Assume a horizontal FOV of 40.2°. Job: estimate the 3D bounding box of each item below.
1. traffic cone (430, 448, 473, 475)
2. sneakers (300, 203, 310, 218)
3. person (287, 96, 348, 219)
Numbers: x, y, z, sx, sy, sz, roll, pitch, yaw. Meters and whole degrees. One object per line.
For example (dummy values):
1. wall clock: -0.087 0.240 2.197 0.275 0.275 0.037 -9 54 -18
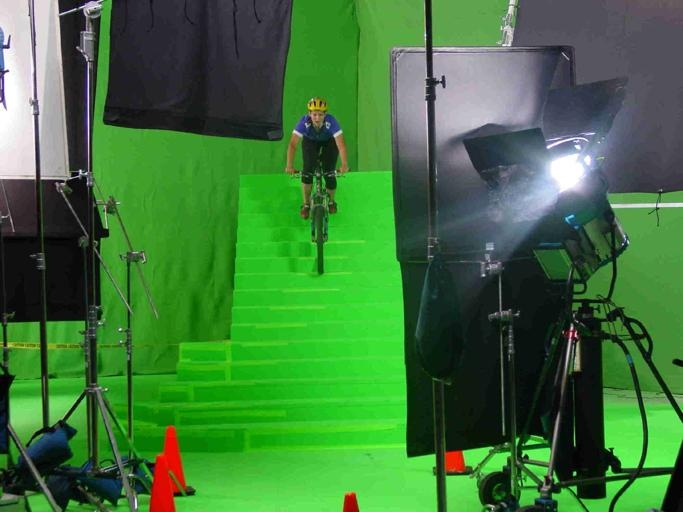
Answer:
1. traffic cone: 0.981 1.741 7.835 0.366 0.218 0.194 23 -33 -39
2. sneakers: -0.393 -0.492 10.206 0.100 0.142 0.059 12 -12 -36
3. person: -0.215 -1.106 10.253 0.601 0.936 1.364 4 -60 12
